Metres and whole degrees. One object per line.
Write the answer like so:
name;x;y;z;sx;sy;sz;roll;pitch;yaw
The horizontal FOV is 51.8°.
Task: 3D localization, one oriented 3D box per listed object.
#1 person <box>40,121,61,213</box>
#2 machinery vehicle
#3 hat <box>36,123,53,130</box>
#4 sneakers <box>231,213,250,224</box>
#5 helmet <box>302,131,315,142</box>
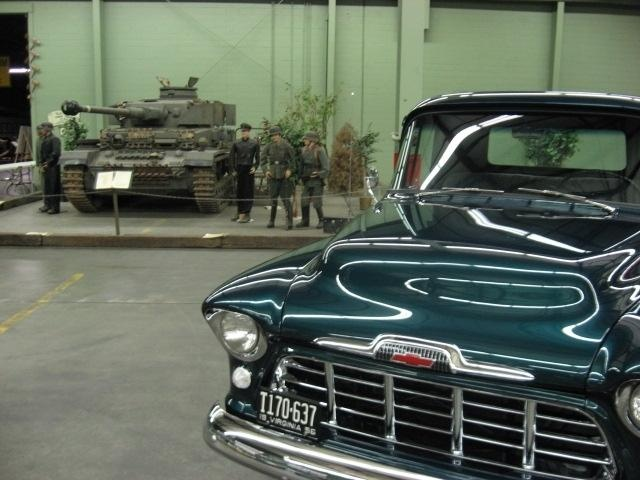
person;-5.775;-1.566;14.110;0.527;1.936;0.856;-6;13;-23
machinery vehicle;-3.371;-2.091;15.050;2.759;1.980;4.269;2;6;12
hat;-5.770;-2.442;13.839;0.294;0.086;0.191;3;13;-8
sneakers;-1.632;-0.458;13.272;0.452;0.174;0.161;5;7;29
helmet;-0.199;-1.919;11.952;0.154;0.146;0.207;15;26;31
